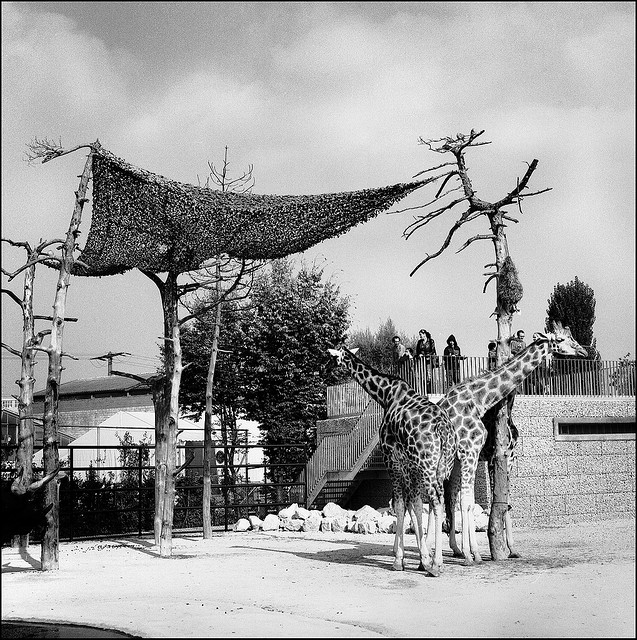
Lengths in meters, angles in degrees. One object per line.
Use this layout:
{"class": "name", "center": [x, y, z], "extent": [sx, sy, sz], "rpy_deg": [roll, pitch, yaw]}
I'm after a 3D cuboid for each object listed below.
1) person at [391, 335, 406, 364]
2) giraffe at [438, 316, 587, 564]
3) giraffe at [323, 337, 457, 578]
{"class": "person", "center": [1.900, 0.717, 32.372], "extent": [0.356, 0.342, 0.931], "rpy_deg": [27, -11, 7]}
{"class": "giraffe", "center": [2.961, 1.757, 20.785], "extent": [2.170, 3.874, 4.343], "rpy_deg": [-2, -11, 10]}
{"class": "giraffe", "center": [1.112, 1.972, 19.677], "extent": [1.807, 3.476, 2.279], "rpy_deg": [-1, -10, 3]}
